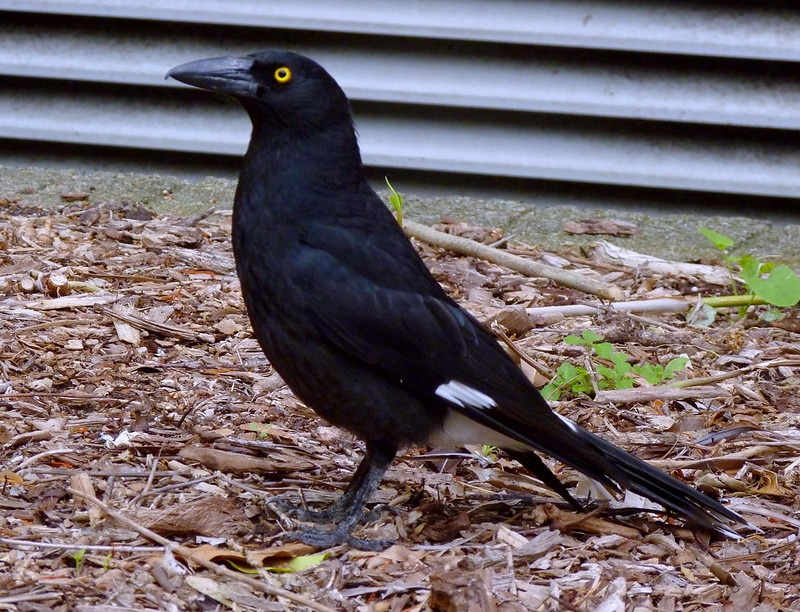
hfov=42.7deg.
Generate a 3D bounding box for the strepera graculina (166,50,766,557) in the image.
[{"bbox_3d":[-0.025,-0.008,3.245,1.877,1.542,0.603,17,14,21],"label":"strepera graculina"}]
